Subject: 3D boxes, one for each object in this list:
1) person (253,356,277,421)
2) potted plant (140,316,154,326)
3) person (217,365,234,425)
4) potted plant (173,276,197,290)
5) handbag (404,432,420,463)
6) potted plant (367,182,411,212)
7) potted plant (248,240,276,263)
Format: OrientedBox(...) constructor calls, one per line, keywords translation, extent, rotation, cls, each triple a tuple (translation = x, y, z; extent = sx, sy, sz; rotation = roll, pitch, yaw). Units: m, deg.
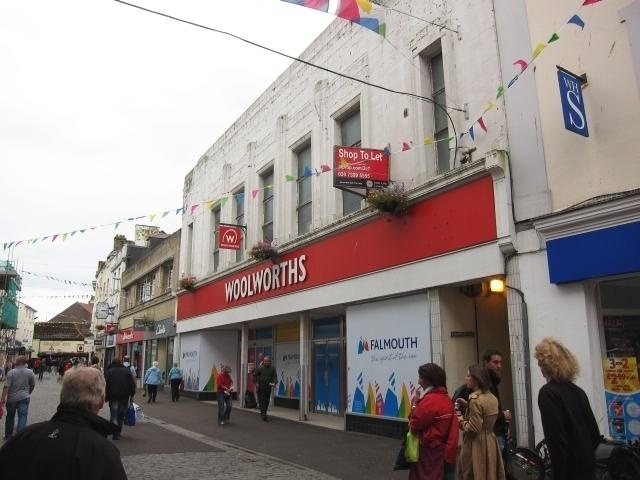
OrientedBox(translation=(-1.710, 4.558, 15.382), extent=(0.650, 1.931, 1.138), rotation=(1, -16, -6), cls="person")
OrientedBox(translation=(-10.468, 4.962, 30.284), extent=(0.595, 0.671, 0.624), rotation=(1, 4, -13), cls="potted plant")
OrientedBox(translation=(-2.747, 4.440, 14.244), extent=(0.401, 1.581, 1.139), rotation=(3, -16, -12), cls="person")
OrientedBox(translation=(-6.189, 2.062, 23.494), extent=(1.075, 0.626, 0.433), rotation=(-10, -19, 27), cls="potted plant")
OrientedBox(translation=(1.028, 2.339, 5.619), extent=(0.165, 0.336, 0.123), rotation=(1, -16, -7), cls="handbag")
OrientedBox(translation=(1.630, -0.947, 11.802), extent=(0.670, 0.612, 0.796), rotation=(1, 1, 3), cls="potted plant")
OrientedBox(translation=(-1.840, 0.470, 17.183), extent=(0.701, 0.672, 0.761), rotation=(-3, -15, 19), cls="potted plant")
